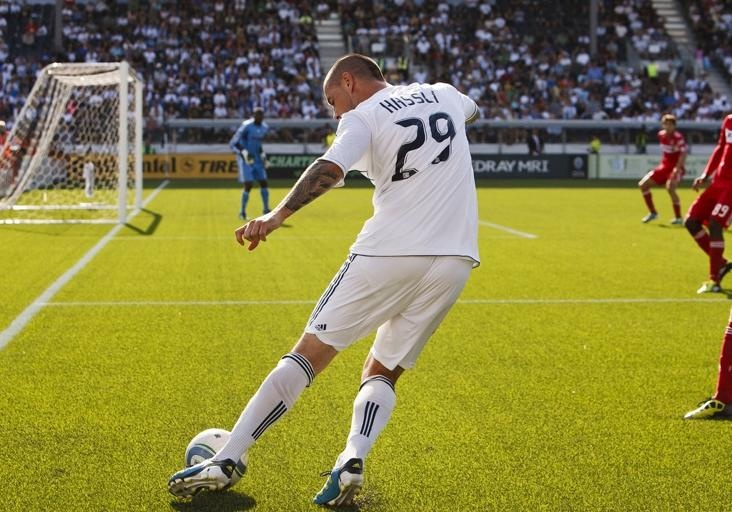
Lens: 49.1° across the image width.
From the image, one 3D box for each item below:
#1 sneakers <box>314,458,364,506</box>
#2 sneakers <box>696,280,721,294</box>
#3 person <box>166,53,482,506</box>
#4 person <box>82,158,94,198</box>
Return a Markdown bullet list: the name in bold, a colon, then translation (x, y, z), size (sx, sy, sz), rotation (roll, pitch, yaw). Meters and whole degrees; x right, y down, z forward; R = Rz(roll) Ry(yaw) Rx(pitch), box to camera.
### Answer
- **sneakers**: translation (-0.148, 1.322, 4.752), size (0.172, 0.374, 0.156), rotation (24, 41, -26)
- **sneakers**: translation (3.692, 0.337, 8.620), size (0.315, 0.136, 0.119), rotation (0, 3, -1)
- **person**: translation (0.104, 0.114, 4.875), size (1.169, 2.604, 0.913), rotation (-1, 12, -4)
- **person**: translation (-5.639, -1.539, 16.410), size (0.190, 0.777, 0.934), rotation (-5, 13, -21)
